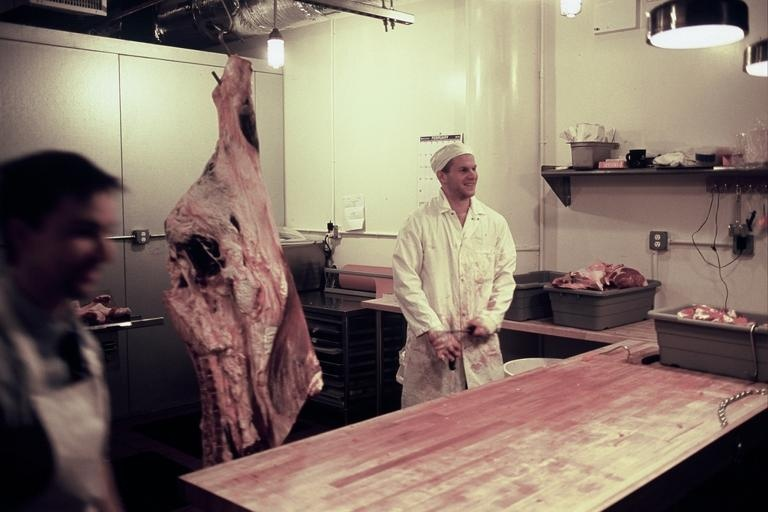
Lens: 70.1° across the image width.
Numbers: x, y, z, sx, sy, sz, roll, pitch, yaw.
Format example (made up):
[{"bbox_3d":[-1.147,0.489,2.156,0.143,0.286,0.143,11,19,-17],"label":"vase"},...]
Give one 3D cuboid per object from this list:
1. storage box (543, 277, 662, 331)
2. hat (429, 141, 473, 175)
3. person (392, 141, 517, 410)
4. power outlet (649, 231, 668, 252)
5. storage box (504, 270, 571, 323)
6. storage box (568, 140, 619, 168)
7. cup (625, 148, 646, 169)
[{"bbox_3d":[1.427,0.309,3.453,0.510,0.167,0.330,-5,6,-41],"label":"storage box"},{"bbox_3d":[0.360,-0.560,3.041,0.176,0.094,0.202,-4,-5,-29],"label":"hat"},{"bbox_3d":[0.407,0.114,3.028,0.656,1.464,0.538,-7,12,-43],"label":"person"},{"bbox_3d":[1.820,-0.100,3.626,0.062,0.149,0.139,3,-4,-39],"label":"power outlet"},{"bbox_3d":[0.999,0.275,3.754,0.452,0.203,0.317,-2,2,-40],"label":"storage box"},{"bbox_3d":[1.399,-0.676,3.664,0.293,0.184,0.110,-1,9,-17],"label":"storage box"},{"bbox_3d":[1.584,-0.612,3.436,0.139,0.112,0.104,1,4,26],"label":"cup"}]
